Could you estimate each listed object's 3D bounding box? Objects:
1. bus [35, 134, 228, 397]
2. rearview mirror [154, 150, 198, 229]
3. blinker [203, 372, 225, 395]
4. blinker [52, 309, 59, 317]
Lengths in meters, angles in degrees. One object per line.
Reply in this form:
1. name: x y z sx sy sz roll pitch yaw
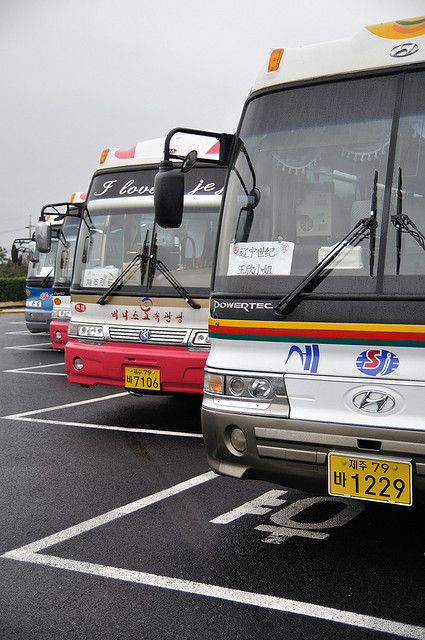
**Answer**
1. bus: -0.918 -0.141 9.027 2.822 3.970 7.347 1 -10 2
2. rearview mirror: -0.268 -0.915 2.984 0.251 0.547 0.199 30 34 35
3. blinker: 0.014 0.392 2.711 0.096 0.060 0.133 3 -1 14
4. blinker: -4.038 -0.182 11.367 0.152 0.163 0.156 -2 -4 37
